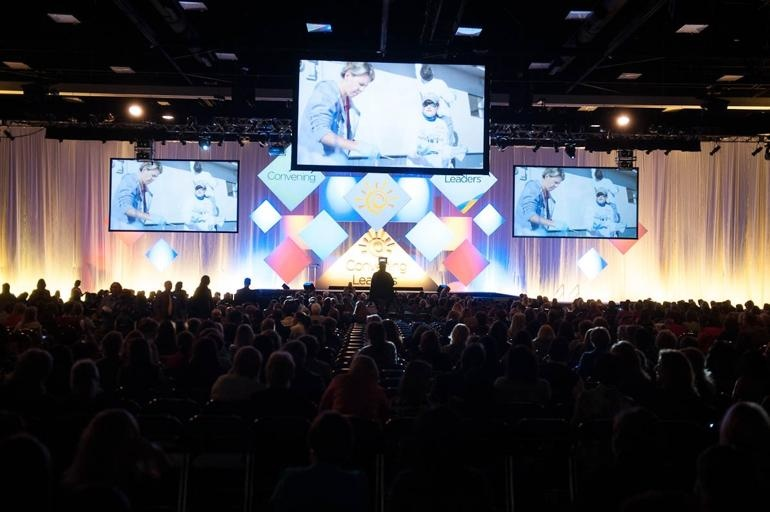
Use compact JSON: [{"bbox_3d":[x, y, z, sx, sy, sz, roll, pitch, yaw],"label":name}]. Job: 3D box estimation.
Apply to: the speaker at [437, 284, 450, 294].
[{"bbox_3d":[1.712,0.996,20.117,0.316,0.216,0.322,-2,-6,19],"label":"speaker"}]
